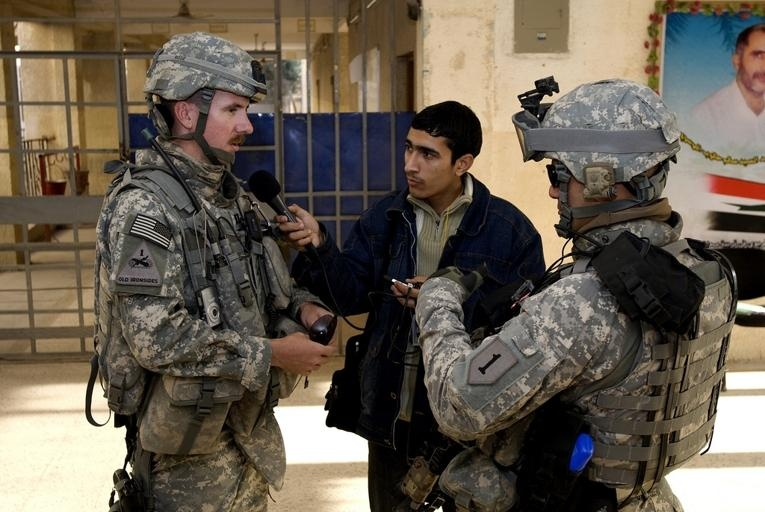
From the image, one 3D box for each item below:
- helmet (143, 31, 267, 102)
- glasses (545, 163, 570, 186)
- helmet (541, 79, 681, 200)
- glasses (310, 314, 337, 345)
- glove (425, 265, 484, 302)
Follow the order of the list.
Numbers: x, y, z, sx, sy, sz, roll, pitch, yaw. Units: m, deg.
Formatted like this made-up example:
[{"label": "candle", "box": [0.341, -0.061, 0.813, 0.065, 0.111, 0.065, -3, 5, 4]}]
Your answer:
[{"label": "helmet", "box": [-0.907, -0.960, 4.151, 0.444, 0.232, 0.437, 1, 20, -7]}, {"label": "glasses", "box": [0.814, -0.378, 3.800, 0.090, 0.115, 0.086, -6, -4, -33]}, {"label": "helmet", "box": [1.117, -0.556, 3.782, 0.627, 0.507, 0.468, 8, 15, 19]}, {"label": "glasses", "box": [-0.309, 0.385, 4.240, 0.077, 0.129, 0.137, 22, 11, 20]}, {"label": "glove", "box": [0.393, 0.103, 3.918, 0.192, 0.078, 0.190, 18, 24, 39]}]
